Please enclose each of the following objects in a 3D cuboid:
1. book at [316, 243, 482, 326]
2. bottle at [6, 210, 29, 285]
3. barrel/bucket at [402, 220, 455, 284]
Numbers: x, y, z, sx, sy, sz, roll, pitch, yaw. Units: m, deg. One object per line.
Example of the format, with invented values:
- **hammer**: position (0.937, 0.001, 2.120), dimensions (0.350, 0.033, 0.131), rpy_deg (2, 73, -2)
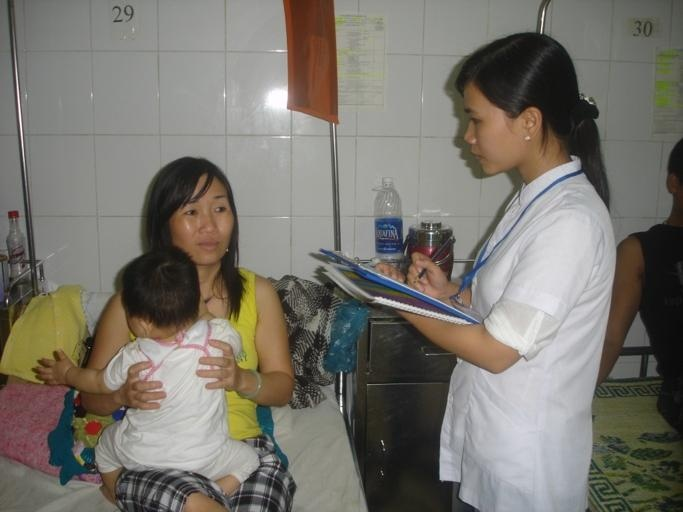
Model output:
- **book**: position (0.119, 0.084, 1.511), dimensions (0.476, 0.167, 0.257), rpy_deg (8, 11, 44)
- **bottle**: position (-1.447, -0.053, 2.471), dimensions (0.080, 0.292, 0.339), rpy_deg (-5, 9, -31)
- **barrel/bucket**: position (0.373, -0.034, 2.336), dimensions (0.256, 0.337, 0.237), rpy_deg (0, 6, 0)
